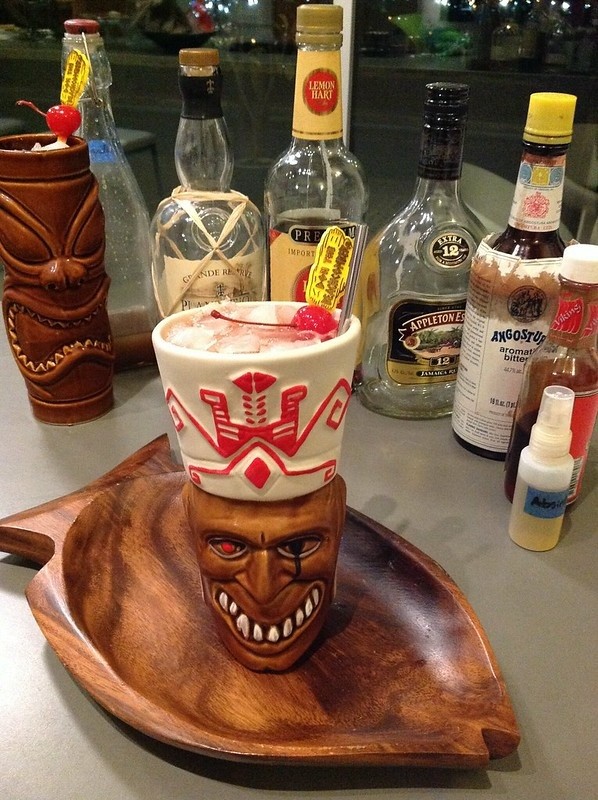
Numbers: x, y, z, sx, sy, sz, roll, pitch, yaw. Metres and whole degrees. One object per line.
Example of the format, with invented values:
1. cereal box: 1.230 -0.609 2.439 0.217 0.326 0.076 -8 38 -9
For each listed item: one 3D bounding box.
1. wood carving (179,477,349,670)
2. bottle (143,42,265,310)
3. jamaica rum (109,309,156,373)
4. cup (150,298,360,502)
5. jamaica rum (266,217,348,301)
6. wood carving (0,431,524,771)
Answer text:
1. wood carving: -0.016 0.087 0.423 0.088 0.095 0.107 0 34 -1
2. bottle: -0.079 -0.181 0.618 0.104 0.216 0.142 0 31 -3
3. jamaica rum: -0.172 -0.064 0.737 0.062 0.057 0.042 -3 30 -6
4. cup: -0.027 0.002 0.368 0.097 0.090 0.067 14 33 18
5. jamaica rum: 0.009 -0.123 0.643 0.072 0.079 0.057 1 31 -2
6. wood carving: -0.014 0.066 0.400 0.174 0.038 0.223 -5 25 -25
